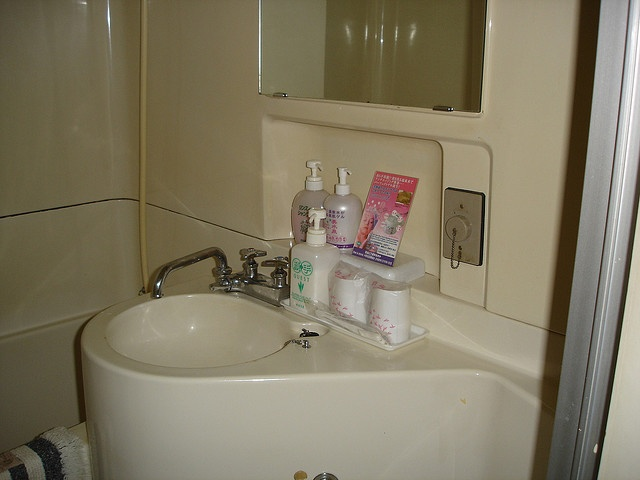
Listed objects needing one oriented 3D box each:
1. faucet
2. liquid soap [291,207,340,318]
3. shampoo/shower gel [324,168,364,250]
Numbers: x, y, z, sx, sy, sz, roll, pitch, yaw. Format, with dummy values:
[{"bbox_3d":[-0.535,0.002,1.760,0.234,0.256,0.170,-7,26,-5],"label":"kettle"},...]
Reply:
[{"bbox_3d":[-0.192,0.078,1.100,0.287,0.113,0.182,-1,18,2],"label":"faucet"},{"bbox_3d":[-0.011,0.040,0.999,0.101,0.200,0.076,0,14,-2],"label":"liquid soap"},{"bbox_3d":[0.048,-0.053,1.041,0.058,0.183,0.069,-19,30,-40],"label":"shampoo/shower gel"}]
